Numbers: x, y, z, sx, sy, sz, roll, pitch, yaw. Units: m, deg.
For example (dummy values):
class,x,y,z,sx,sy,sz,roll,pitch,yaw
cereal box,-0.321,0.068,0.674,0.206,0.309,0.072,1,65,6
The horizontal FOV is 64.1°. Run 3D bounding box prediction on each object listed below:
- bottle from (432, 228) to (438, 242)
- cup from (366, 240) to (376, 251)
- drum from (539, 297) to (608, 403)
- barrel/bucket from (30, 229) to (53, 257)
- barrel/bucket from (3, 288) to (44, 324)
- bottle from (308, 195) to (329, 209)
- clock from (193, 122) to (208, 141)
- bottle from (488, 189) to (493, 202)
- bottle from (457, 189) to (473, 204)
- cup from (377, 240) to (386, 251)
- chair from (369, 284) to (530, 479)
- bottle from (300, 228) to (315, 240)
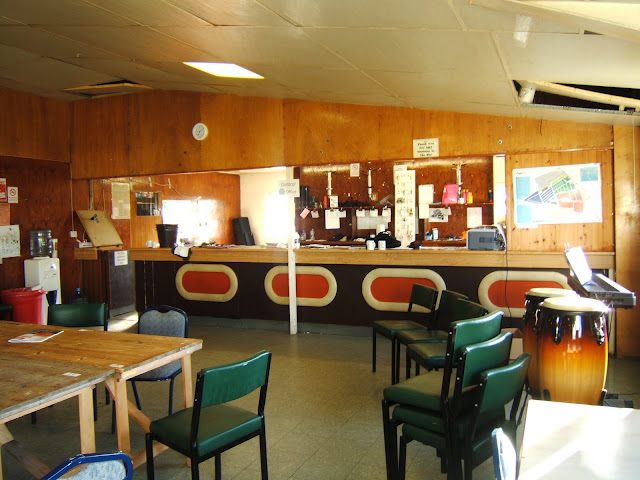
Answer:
class,x,y,z,sx,sy,sz,roll,pitch,yaw
bottle,2.090,-0.105,9.245,0.103,0.200,0.383,1,9,14
cup,0.705,0.069,6.985,0.148,0.126,0.091,1,-2,-32
drum,2.046,0.909,4.149,0.525,0.815,0.330,2,10,23
barrel/bucket,-4.456,0.051,8.226,0.383,0.660,0.398,1,0,0
barrel/bucket,-4.290,0.949,7.328,0.484,0.488,0.508,1,-2,0
bottle,-0.009,-0.725,9.888,0.464,0.270,0.282,1,9,15
clock,-1.845,-1.655,7.803,0.274,0.264,0.064,13,10,20
bottle,3.025,-0.782,9.038,0.067,0.214,0.161,-1,9,4
bottle,2.593,-0.760,9.096,0.251,0.322,0.260,2,-2,0
cup,0.836,0.072,6.934,0.118,0.127,0.116,1,0,0
chair,0.949,1.104,3.637,0.968,1.111,0.845,3,10,24
bottle,-0.242,-0.113,10.057,0.246,0.224,0.079,-1,-3,15
